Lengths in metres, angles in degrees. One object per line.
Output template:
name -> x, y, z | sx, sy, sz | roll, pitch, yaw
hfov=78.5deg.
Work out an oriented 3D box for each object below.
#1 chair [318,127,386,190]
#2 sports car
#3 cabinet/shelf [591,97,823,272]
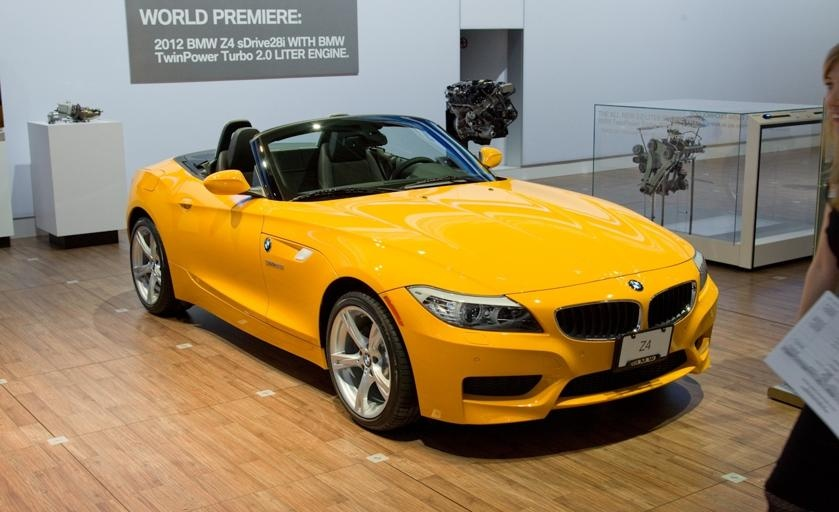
chair -> -0.558, -0.712, 4.118 | 0.472, 0.506, 0.650 | -5, 0, -25
sports car -> -0.408, -0.178, 4.134 | 4.825, 1.826, 2.052 | 12, 23, 38
cabinet/shelf -> 4.192, -0.821, 7.138 | 2.733, 1.917, 2.691 | 10, 16, 44
